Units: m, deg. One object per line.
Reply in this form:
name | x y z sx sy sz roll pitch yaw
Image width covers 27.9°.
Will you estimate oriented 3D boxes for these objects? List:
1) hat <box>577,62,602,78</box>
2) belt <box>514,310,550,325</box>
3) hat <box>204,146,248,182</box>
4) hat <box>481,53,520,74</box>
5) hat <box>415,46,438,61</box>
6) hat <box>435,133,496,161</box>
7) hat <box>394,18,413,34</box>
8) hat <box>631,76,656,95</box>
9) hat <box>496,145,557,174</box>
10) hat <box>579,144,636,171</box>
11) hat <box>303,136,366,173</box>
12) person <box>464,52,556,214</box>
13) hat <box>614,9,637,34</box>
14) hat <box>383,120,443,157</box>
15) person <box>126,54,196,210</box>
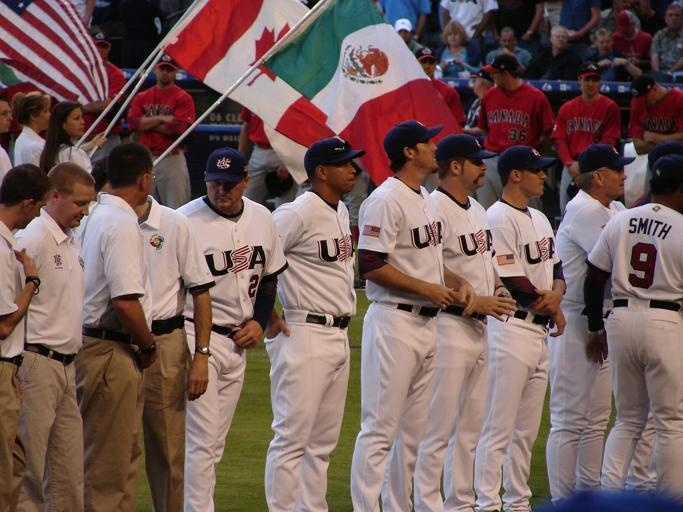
hat | 2.982 -2.230 16.603 0.228 0.192 0.179 -2 -15 14
belt | 1.666 0.538 12.097 0.184 0.058 0.185 15 -4 -22
hat | -0.954 -0.754 11.141 0.346 0.263 0.486 3 22 14
hat | 1.925 -2.266 16.350 0.328 0.184 0.217 13 26 2
hat | 1.046 -2.533 17.120 0.258 0.218 0.416 -1 1 1
hat | 1.041 -0.944 11.949 0.368 0.171 0.258 1 6 4
hat | 0.849 -3.166 18.952 0.200 0.291 0.294 3 -14 -4
hat | 3.550 -2.006 16.236 0.178 0.277 0.150 -2 -33 41
hat | 1.636 -0.862 12.311 0.390 0.168 0.251 -3 7 6
hat | 2.367 -0.880 12.423 0.383 0.191 0.247 -3 9 4
hat | -0.082 -0.820 11.482 0.395 0.205 0.288 -28 1 17
person | 2.072 -1.283 16.613 0.953 2.250 0.673 3 9 22
hat | 4.421 -3.605 21.344 0.380 0.332 0.277 -6 -9 -42
hat | 0.596 -1.056 11.707 0.574 0.226 0.383 -18 8 8
person | -2.384 -1.192 17.691 0.838 2.678 0.712 7 9 18
